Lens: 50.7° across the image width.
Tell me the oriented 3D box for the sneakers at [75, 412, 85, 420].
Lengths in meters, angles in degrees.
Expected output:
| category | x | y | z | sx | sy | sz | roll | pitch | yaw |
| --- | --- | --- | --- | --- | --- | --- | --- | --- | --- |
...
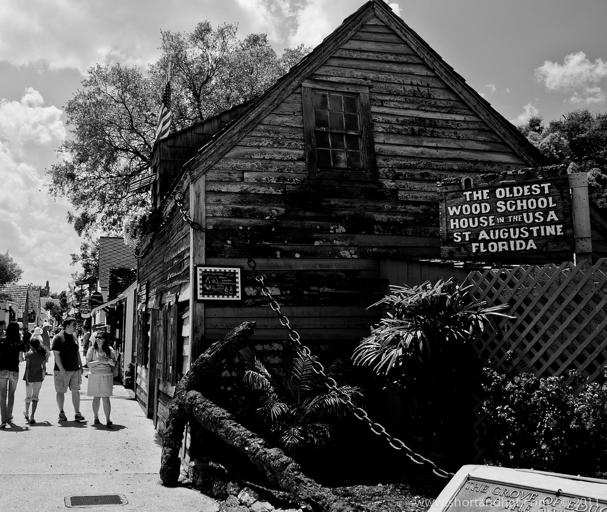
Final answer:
| category | x | y | z | sx | sy | sz | roll | pitch | yaw |
| --- | --- | --- | --- | --- | --- | --- | --- | --- | --- |
| sneakers | -4.073 | 2.908 | 11.590 | 0.082 | 0.115 | 0.225 | 8 | -11 | -41 |
